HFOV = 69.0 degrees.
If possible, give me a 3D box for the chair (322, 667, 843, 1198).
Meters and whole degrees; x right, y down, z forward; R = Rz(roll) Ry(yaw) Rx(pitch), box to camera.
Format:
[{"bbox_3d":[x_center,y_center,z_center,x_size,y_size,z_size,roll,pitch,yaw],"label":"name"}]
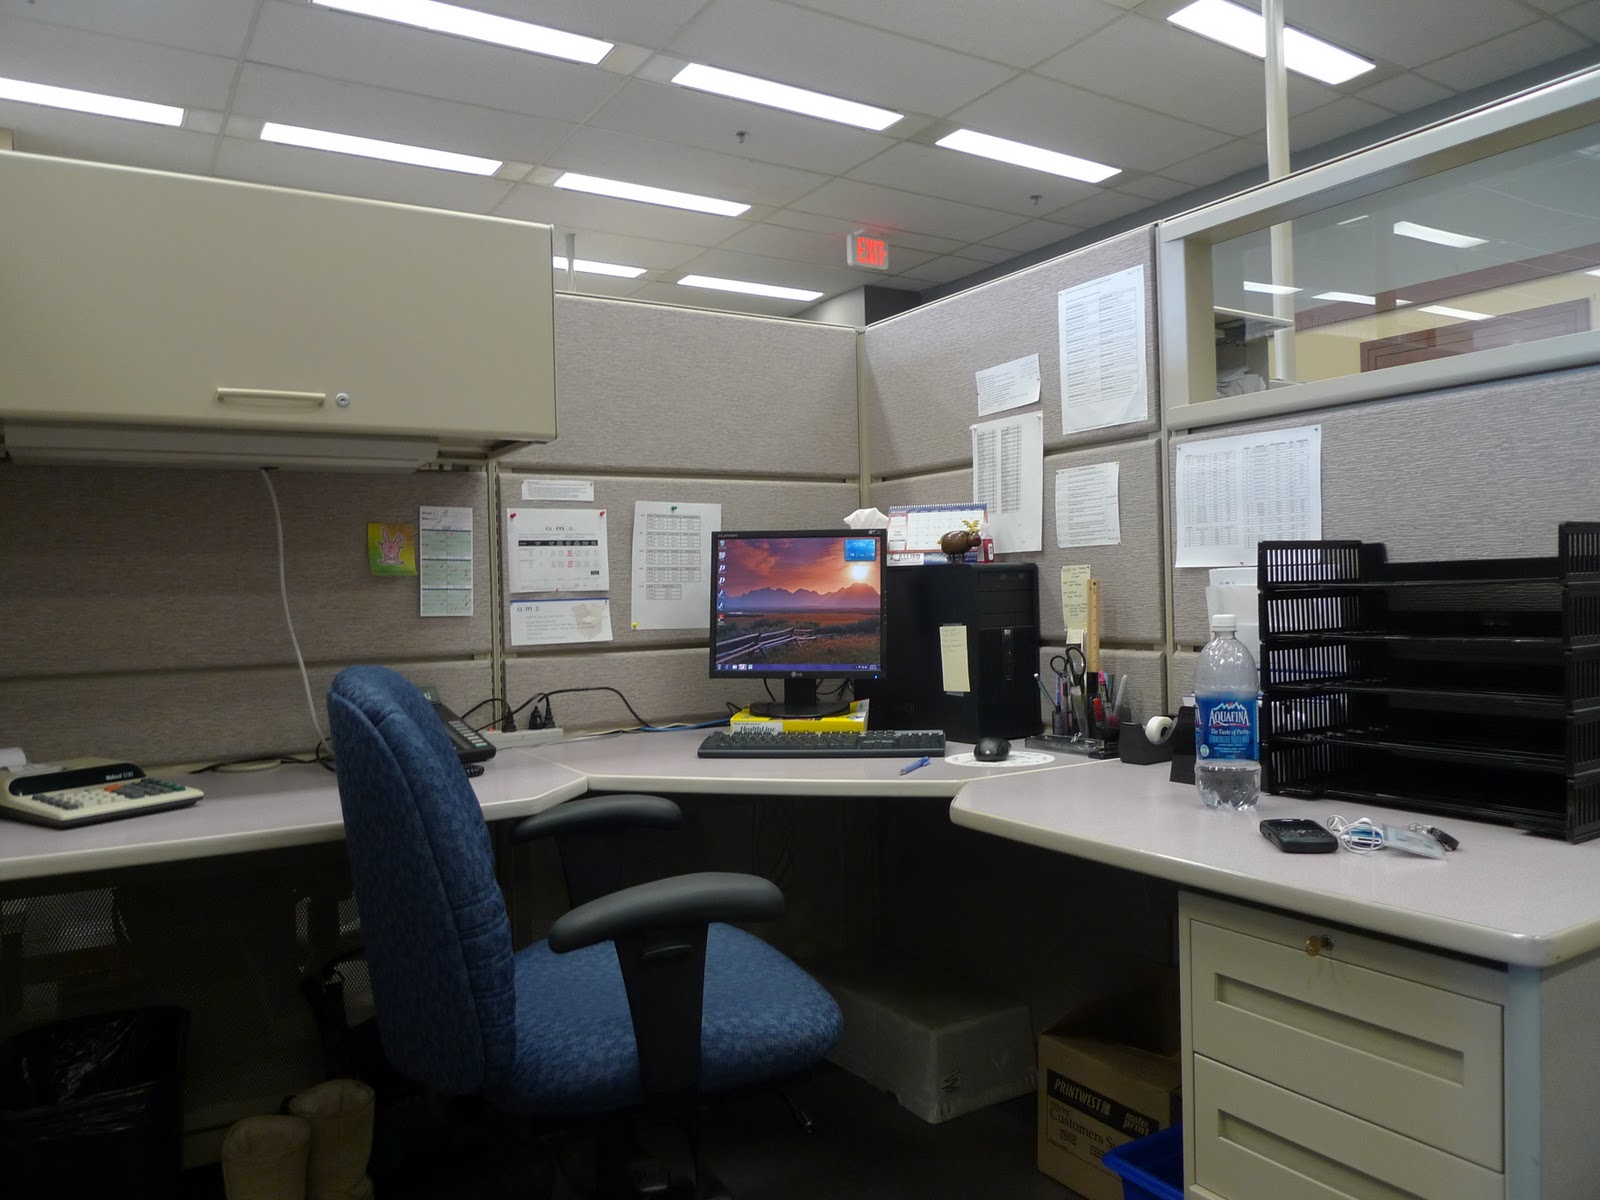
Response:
[{"bbox_3d":[-0.381,0.545,2.071,0.788,0.972,0.812,-2,-1,-19],"label":"chair"}]
